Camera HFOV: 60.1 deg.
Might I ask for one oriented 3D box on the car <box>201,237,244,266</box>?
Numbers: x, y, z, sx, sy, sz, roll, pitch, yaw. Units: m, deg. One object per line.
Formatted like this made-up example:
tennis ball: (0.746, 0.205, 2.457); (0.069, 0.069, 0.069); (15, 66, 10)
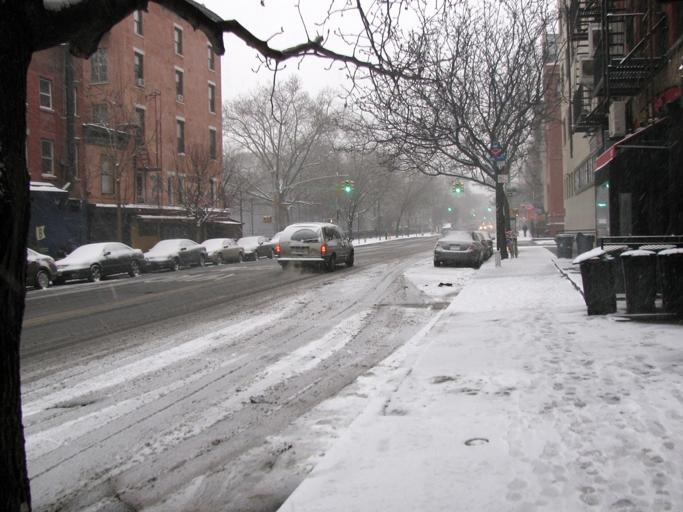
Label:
car: (-6.579, -0.270, 32.133); (1.080, 1.342, 3.353); (-4, 1, 15)

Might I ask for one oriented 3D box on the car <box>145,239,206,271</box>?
car: (-8.145, -0.072, 28.307); (1.221, 1.509, 4.438); (-4, 1, 12)

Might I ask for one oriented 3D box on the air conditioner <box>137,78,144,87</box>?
air conditioner: (-12.344, -10.618, 36.174); (0.366, 0.445, 0.385); (-4, 5, -24)

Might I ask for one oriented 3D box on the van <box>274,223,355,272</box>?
van: (-0.758, -0.452, 23.664); (1.380, 1.345, 3.017); (0, 5, 18)

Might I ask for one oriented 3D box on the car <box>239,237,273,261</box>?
car: (-5.304, -0.492, 35.707); (0.940, 0.880, 2.375); (-1, -2, 15)

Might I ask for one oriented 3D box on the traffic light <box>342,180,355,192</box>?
traffic light: (0.490, -5.580, 46.490); (0.906, 1.365, 0.337); (3, -11, 7)

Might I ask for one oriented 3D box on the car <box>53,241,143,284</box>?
car: (-9.524, 0.242, 22.886); (1.233, 1.311, 3.517); (-2, -2, 15)
